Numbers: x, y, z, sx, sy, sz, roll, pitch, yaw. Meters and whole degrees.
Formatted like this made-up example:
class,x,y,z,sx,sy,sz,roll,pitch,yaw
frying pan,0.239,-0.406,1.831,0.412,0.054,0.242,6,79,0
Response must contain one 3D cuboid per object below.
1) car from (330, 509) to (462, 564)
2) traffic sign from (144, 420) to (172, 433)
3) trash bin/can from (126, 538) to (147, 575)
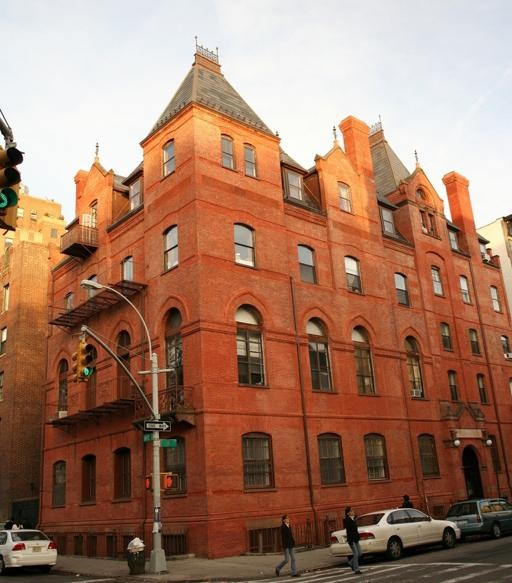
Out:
class,x,y,z,sx,sy,sz,roll,pitch,yaw
car,4.599,7.522,17.273,4.482,1.371,0.703,12,-30,-34
traffic sign,-3.093,4.129,17.071,0.322,0.361,1.035,-18,-26,27
trash bin/can,-3.543,7.810,16.309,0.489,0.947,0.427,1,-26,-12
